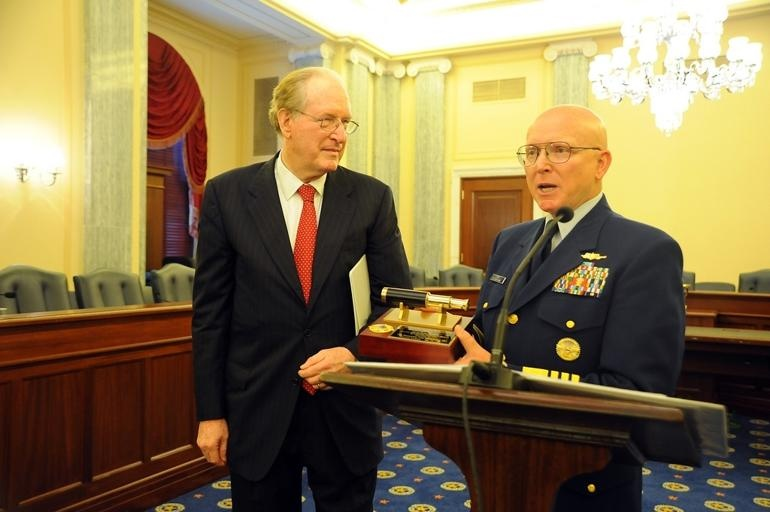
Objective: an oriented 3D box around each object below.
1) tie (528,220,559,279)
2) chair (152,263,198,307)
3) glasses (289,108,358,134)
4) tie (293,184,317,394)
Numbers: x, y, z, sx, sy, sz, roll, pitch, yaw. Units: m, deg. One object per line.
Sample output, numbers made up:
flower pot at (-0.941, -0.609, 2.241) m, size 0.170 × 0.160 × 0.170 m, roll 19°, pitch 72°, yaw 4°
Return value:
tie at (0.673, -0.075, 2.311) m, size 0.063 × 0.066 × 0.386 m, roll 15°, pitch 54°, yaw 29°
chair at (-1.780, 0.252, 4.667) m, size 0.356 × 0.448 × 0.306 m, roll -11°, pitch -13°, yaw 41°
glasses at (-0.251, -0.584, 2.345) m, size 0.139 × 0.039 × 0.144 m, roll 1°, pitch 21°, yaw -45°
tie at (-0.345, 0.121, 2.326) m, size 0.105 × 0.809 × 0.104 m, roll 4°, pitch -3°, yaw -24°
